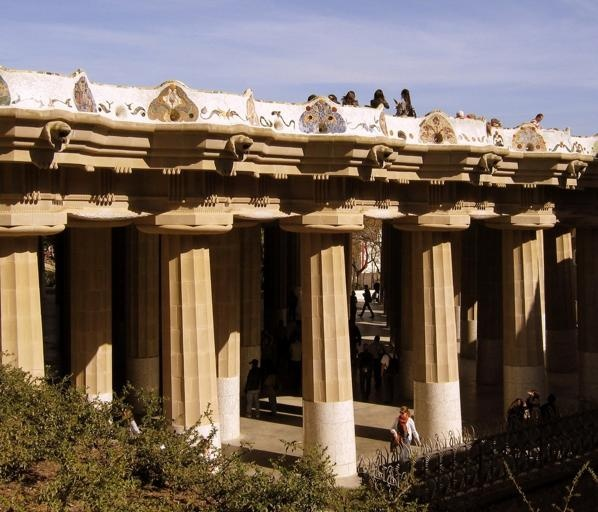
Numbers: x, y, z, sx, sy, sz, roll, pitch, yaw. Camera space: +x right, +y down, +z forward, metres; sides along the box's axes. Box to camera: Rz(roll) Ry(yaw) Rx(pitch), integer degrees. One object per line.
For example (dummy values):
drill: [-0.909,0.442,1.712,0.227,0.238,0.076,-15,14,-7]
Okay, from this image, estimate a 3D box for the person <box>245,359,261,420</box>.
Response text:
person: [-1.361,3.861,29.467,0.429,1.892,1.285,-2,6,-4]

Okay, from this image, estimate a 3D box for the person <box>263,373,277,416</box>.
person: [-0.846,4.113,29.909,0.354,1.376,1.170,-1,6,-2]

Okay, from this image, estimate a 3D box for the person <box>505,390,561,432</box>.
person: [5.998,3.933,25.493,0.903,0.631,2.378,3,8,35]

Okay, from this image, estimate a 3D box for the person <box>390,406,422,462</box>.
person: [2.478,4.191,22.791,0.634,1.740,0.530,-1,34,5]
